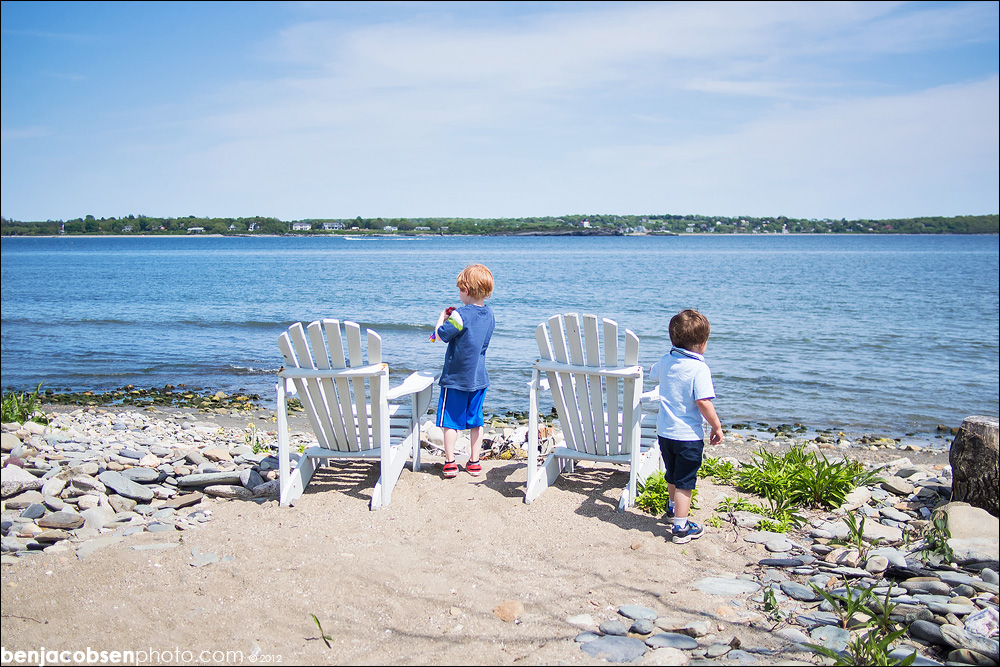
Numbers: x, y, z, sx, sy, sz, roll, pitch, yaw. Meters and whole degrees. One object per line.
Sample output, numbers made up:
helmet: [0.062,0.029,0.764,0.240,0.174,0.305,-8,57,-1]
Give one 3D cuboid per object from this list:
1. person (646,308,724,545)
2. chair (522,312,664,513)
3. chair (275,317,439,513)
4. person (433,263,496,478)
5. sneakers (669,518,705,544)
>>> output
person: [1.759,0.837,7.860,0.557,2.081,0.681,-1,11,-6]
chair: [0.985,0.677,8.776,1.364,1.920,1.319,2,10,9]
chair: [-1.510,0.736,8.678,1.534,1.855,1.122,-2,11,-13]
person: [-0.395,0.389,9.087,0.639,2.282,0.690,-1,11,-4]
sneakers: [1.708,1.826,7.761,0.375,0.159,0.141,-7,11,-37]
